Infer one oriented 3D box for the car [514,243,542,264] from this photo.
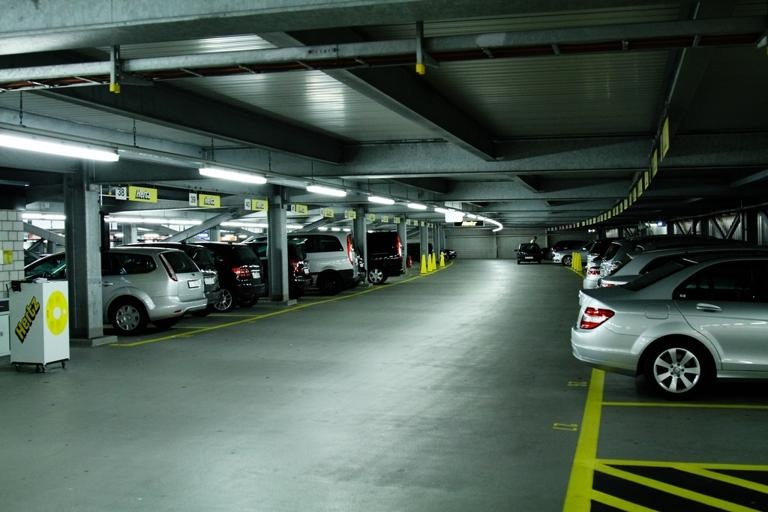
[{"bbox_3d":[11.612,-0.172,53.713,1.769,0.833,2.281,0,5,11],"label":"car"}]
